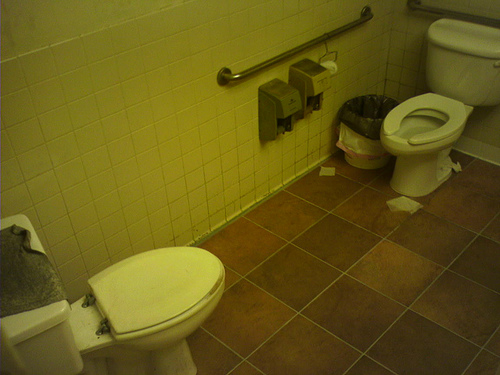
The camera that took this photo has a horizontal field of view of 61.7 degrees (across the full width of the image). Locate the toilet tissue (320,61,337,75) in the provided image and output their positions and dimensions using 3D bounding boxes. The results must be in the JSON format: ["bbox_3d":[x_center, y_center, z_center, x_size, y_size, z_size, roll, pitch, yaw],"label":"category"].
[{"bbox_3d":[0.548,-0.834,2.915,0.106,0.036,0.110,15,89,9],"label":"toilet tissue"}]
